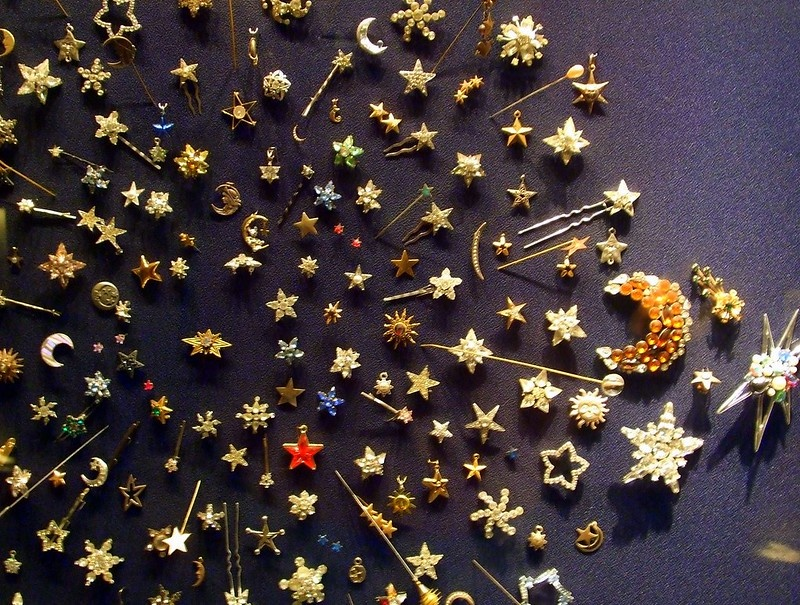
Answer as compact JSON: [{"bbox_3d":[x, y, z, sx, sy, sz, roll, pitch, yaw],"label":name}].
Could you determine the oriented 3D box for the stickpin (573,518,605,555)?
[{"bbox_3d":[0.940,1.178,6.558,0.131,0.138,0.015,-24,2,-7],"label":"stickpin"}]

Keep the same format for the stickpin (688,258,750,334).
[{"bbox_3d":[1.569,-0.033,6.555,0.151,0.358,0.144,-28,-23,-26],"label":"stickpin"}]
